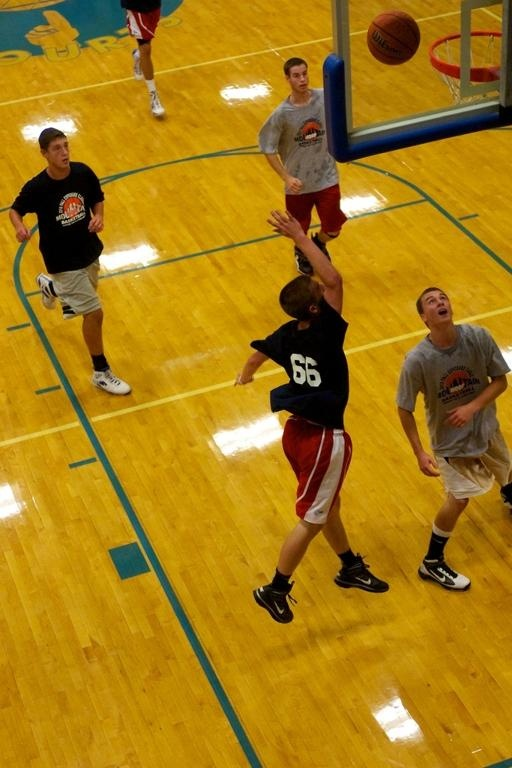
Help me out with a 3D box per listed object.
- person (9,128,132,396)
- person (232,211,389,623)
[{"bbox_3d":[-1.249,-0.770,4.349,0.605,1.830,0.492,-14,31,-10],"label":"person"},{"bbox_3d":[0.257,0.256,2.791,0.612,1.879,0.794,-1,31,11],"label":"person"}]
